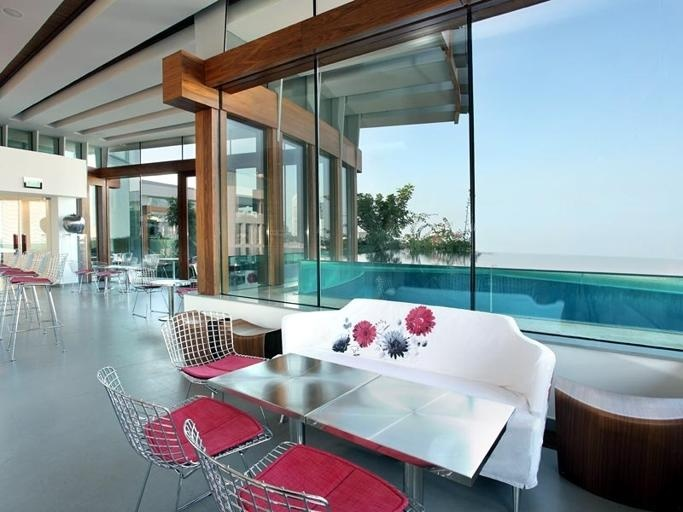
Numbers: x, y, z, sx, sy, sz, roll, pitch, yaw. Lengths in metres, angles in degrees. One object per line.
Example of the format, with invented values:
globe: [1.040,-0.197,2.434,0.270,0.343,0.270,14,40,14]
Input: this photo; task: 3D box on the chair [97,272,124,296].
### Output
chair: [-5.713,0.686,11.115,0.480,0.589,0.406,-3,4,-43]

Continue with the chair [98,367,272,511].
chair: [-1.074,1.293,3.109,0.830,1.126,0.758,-10,15,-41]

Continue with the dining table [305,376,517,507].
dining table: [0.492,0.991,2.788,0.849,0.754,0.785,12,23,36]

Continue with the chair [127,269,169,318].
chair: [-3.743,0.637,8.545,0.597,0.770,0.518,3,-7,17]

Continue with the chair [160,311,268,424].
chair: [-1.286,1.052,4.012,0.786,1.005,0.838,-6,-1,42]
